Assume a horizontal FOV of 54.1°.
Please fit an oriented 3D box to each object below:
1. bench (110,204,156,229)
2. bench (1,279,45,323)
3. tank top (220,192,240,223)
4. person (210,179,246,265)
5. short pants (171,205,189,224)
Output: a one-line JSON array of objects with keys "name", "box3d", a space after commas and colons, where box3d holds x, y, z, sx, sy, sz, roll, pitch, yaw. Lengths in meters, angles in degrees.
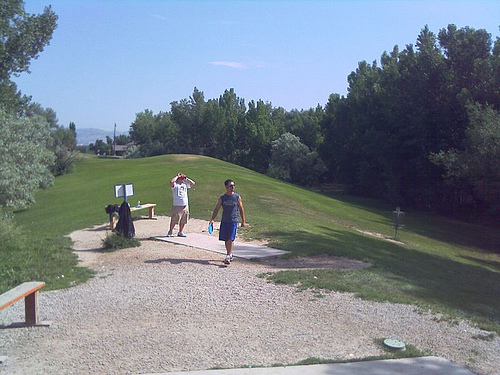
[{"name": "bench", "box3d": [-5.158, 1.137, 22.018, 1.311, 0.852, 3.404, 3, 10, 7]}, {"name": "bench", "box3d": [-5.361, 2.777, 11.421, 0.670, 0.842, 1.196, 6, 10, 24]}, {"name": "tank top", "box3d": [-0.624, 0.490, 15.981, 0.653, 1.079, 0.561, 5, 46, 10]}, {"name": "person", "box3d": [-0.690, 1.089, 15.951, 1.020, 2.657, 1.209, 2, 9, -1]}, {"name": "short pants", "box3d": [-2.637, 1.055, 18.613, 0.569, 1.020, 0.789, -1, 4, -12]}]
